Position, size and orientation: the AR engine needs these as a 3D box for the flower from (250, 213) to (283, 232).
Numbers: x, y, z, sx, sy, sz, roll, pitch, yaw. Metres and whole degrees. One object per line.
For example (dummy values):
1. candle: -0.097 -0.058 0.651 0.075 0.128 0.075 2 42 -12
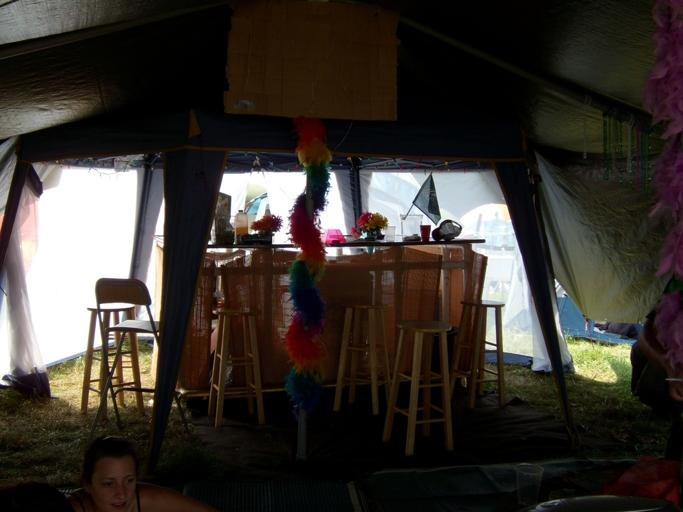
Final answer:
1. flower: -0.825 -0.345 6.319 0.229 0.162 0.222 1 5 31

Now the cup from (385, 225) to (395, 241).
1. cup: 0.586 -0.274 7.031 0.159 0.215 0.176 -1 0 14

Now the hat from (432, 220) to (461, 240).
1. hat: 1.211 -0.293 6.670 0.412 0.250 0.236 0 -1 -28

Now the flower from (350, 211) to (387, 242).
1. flower: 0.335 -0.358 7.009 0.353 0.356 0.362 0 5 13

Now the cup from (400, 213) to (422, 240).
1. cup: 1.009 -0.419 8.218 0.396 0.440 0.397 0 -1 0

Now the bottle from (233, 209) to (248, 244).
1. bottle: -1.092 -0.315 6.292 0.138 0.366 0.388 0 -1 -13

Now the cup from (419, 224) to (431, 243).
1. cup: 0.964 -0.267 6.649 0.163 0.191 0.167 0 -2 0

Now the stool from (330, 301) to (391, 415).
1. stool: 0.231 1.085 6.314 0.670 1.082 0.691 2 1 -34

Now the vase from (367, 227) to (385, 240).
1. vase: 0.389 -0.258 6.866 0.205 0.137 0.135 0 -1 2

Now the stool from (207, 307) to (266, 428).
1. stool: -1.081 1.106 6.039 0.578 1.114 0.861 0 -1 -13

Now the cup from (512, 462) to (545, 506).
1. cup: 1.131 1.390 3.516 0.142 0.253 0.240 -1 -1 18
